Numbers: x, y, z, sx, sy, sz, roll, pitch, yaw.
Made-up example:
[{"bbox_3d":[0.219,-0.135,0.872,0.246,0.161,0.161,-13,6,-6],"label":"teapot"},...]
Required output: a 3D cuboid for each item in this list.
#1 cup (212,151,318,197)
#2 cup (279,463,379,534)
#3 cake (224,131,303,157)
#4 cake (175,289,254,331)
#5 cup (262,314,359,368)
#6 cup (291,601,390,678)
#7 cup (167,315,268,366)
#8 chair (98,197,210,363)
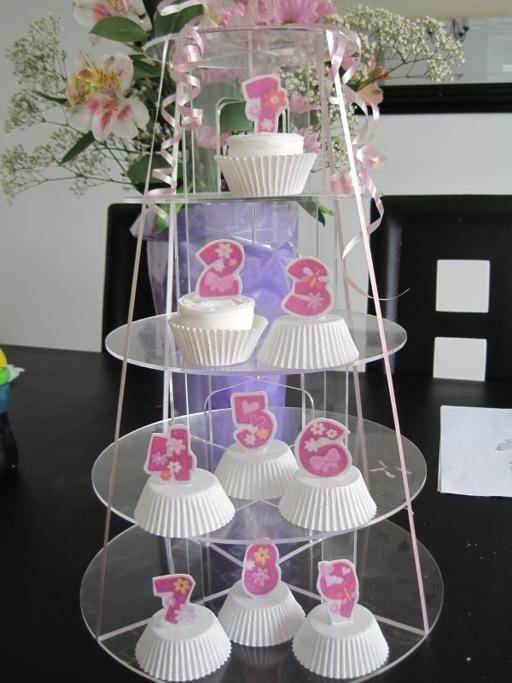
[{"bbox_3d":[0.010,-0.170,0.618,0.097,0.042,0.057,0,11,0],"label":"cup"},{"bbox_3d":[0.073,0.148,0.616,0.105,0.042,0.103,-3,8,0],"label":"cup"},{"bbox_3d":[0.009,-0.196,0.606,0.076,0.026,0.043,0,11,0],"label":"cake"},{"bbox_3d":[-0.039,-0.036,0.606,0.054,0.018,0.049,-3,12,-29],"label":"cake"},{"bbox_3d":[0.047,-0.006,0.614,0.115,0.045,0.110,-4,11,1],"label":"cup"},{"bbox_3d":[0.082,0.287,0.585,0.085,0.039,0.087,0,11,0],"label":"cup"},{"bbox_3d":[-0.044,0.005,0.612,0.092,0.035,0.090,-2,1,0],"label":"cup"},{"bbox_3d":[-0.219,-0.188,1.676,0.385,0.510,0.343,3,3,-4],"label":"chair"}]
